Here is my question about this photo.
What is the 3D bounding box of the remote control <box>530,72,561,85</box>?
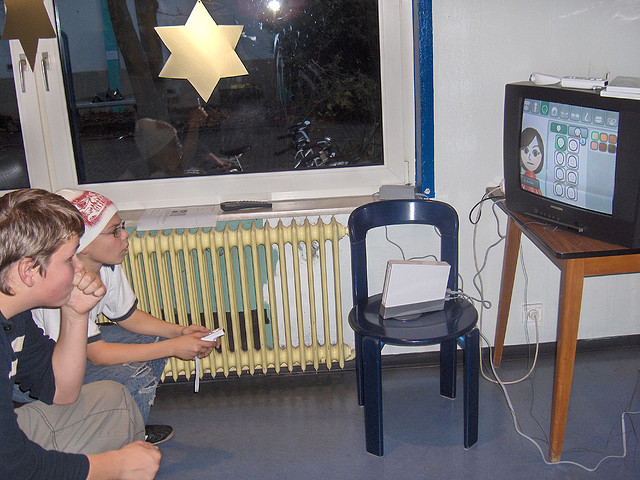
[{"bbox_3d":[0.977,-0.705,2.392,0.124,0.058,0.032,5,14,23],"label":"remote control"}]

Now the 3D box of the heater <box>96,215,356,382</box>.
[{"bbox_3d":[-0.360,0.256,2.999,1.215,0.870,0.471,-1,21,-3],"label":"heater"}]

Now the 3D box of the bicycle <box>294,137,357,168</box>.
[{"bbox_3d":[0.023,-0.497,2.937,0.265,0.150,0.271,-11,19,-19],"label":"bicycle"}]

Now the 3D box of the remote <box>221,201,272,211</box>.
[{"bbox_3d":[-0.370,-0.175,2.761,0.176,0.032,0.095,-5,8,-9],"label":"remote"}]

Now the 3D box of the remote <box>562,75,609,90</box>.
[{"bbox_3d":[1.100,-0.642,2.266,0.194,0.054,0.170,9,19,41],"label":"remote"}]
